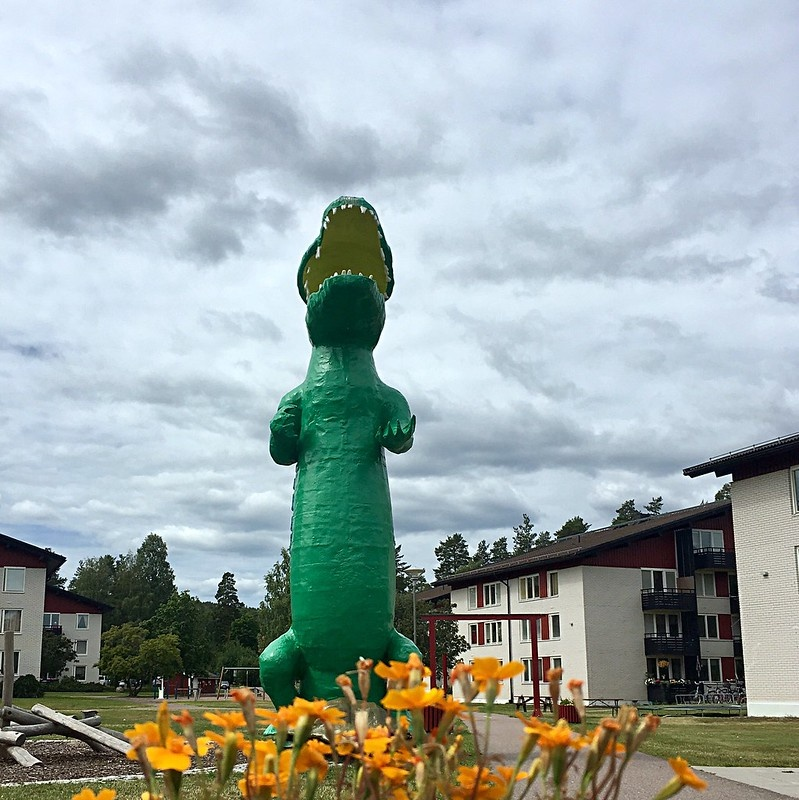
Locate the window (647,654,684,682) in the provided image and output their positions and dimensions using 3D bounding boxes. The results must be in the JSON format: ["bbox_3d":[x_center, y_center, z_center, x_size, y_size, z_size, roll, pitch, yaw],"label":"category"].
[{"bbox_3d":[10.258,10.402,31.772,1.321,0.674,0.081,9,-22,-32],"label":"window"}]

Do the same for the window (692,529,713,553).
[{"bbox_3d":[12.485,5.837,33.831,1.058,0.639,0.104,4,-12,-27],"label":"window"}]

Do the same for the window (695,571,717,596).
[{"bbox_3d":[12.510,7.526,33.525,1.210,1.000,0.147,5,-12,-28],"label":"window"}]

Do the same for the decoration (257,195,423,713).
[{"bbox_3d":[-0.704,0.435,8.576,1.858,4.883,1.783,1,-7,4],"label":"decoration"}]

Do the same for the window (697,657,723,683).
[{"bbox_3d":[12.219,10.668,32.344,1.118,0.899,0.134,6,-14,-27],"label":"window"}]

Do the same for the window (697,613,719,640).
[{"bbox_3d":[12.408,9.164,33.022,1.183,0.880,0.156,9,-17,-28],"label":"window"}]
